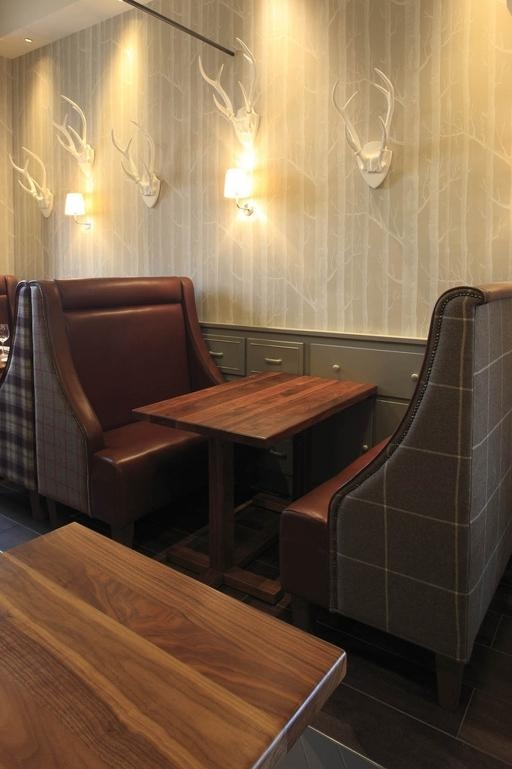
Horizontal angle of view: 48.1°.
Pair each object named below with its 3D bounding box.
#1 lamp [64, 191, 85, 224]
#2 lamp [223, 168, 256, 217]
[{"bbox_3d":[-1.318,-1.309,4.214,0.140,0.204,0.325,-4,11,-16],"label":"lamp"},{"bbox_3d":[-0.130,-1.056,3.172,0.146,0.258,0.221,-10,14,-44],"label":"lamp"}]
